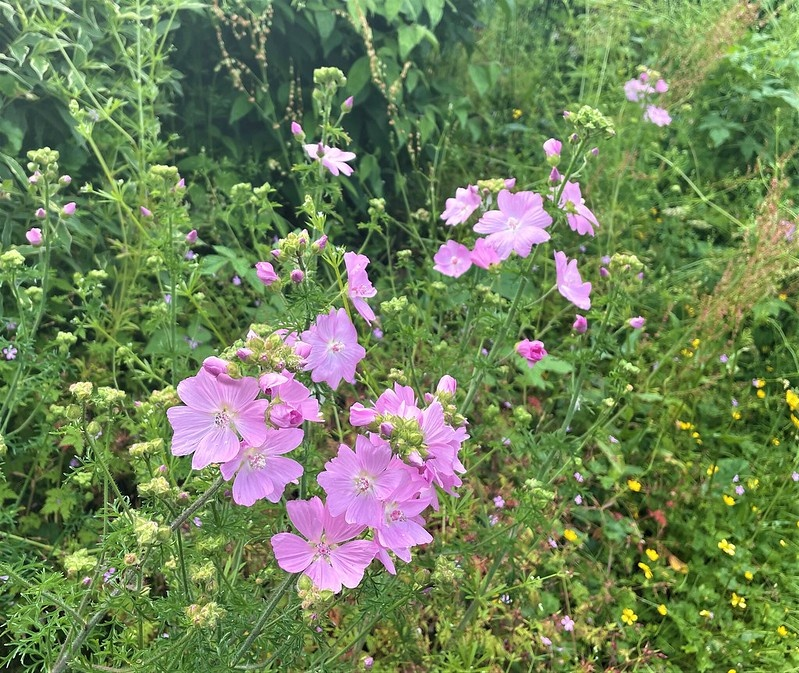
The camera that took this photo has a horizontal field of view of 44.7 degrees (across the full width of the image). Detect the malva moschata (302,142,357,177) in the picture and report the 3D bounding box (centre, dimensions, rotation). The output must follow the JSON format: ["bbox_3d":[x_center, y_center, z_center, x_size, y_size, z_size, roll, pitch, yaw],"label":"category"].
[{"bbox_3d":[-0.309,-0.824,4.548,0.193,0.085,0.191,39,14,31],"label":"malva moschata"}]

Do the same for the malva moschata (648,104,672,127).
[{"bbox_3d":[1.591,-1.346,5.992,0.129,0.045,0.145,19,56,-26],"label":"malva moschata"}]

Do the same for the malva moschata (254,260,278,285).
[{"bbox_3d":[-0.555,-0.274,4.084,0.044,0.088,0.098,-11,57,-50],"label":"malva moschata"}]
